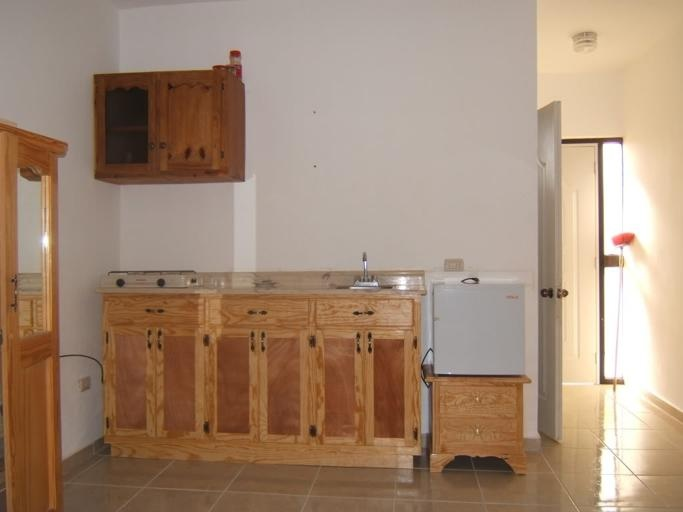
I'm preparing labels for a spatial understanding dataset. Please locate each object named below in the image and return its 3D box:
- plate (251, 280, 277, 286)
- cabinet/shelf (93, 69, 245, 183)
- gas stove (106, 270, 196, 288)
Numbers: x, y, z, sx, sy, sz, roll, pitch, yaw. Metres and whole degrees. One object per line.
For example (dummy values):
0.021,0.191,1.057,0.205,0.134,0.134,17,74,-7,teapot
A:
-0.654,0.233,5.781,0.196,0.069,0.017,1,12,9,plate
-1.607,-1.159,5.739,1.137,0.856,0.567,-9,27,-32,cabinet/shelf
-1.614,0.198,5.716,0.770,0.131,0.397,0,12,4,gas stove
